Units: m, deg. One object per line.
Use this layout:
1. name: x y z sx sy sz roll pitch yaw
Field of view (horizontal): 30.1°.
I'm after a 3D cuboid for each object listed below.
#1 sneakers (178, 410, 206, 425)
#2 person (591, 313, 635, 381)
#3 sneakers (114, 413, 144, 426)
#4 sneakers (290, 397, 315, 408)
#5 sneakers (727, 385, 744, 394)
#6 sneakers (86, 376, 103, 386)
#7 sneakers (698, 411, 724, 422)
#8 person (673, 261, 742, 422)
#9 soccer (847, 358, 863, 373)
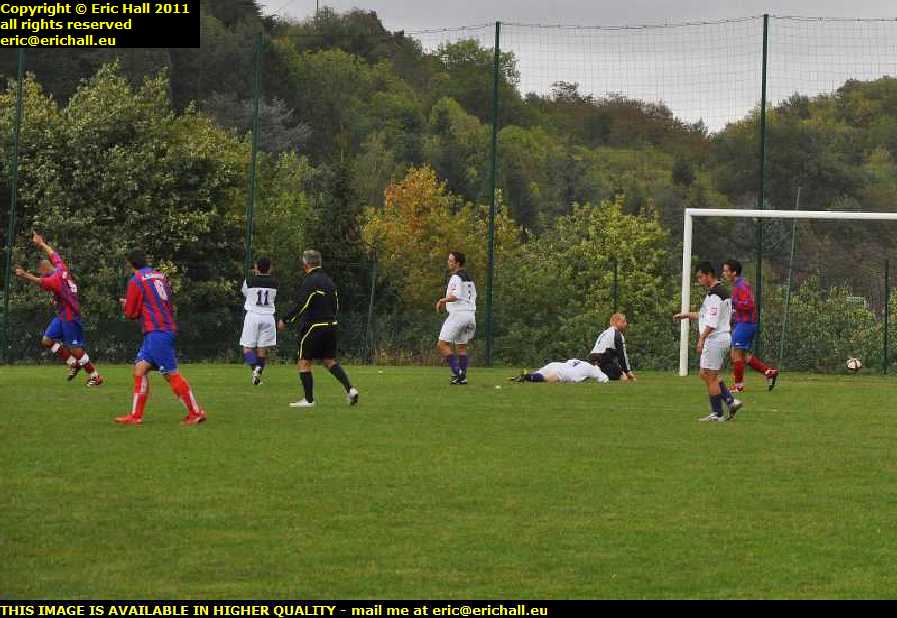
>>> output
1. sneakers: -5.136 2.079 32.920 0.499 0.213 0.195 -12 6 7
2. person: 3.950 0.834 39.735 1.148 1.474 0.986 -3 10 -39
3. sneakers: -6.367 2.125 32.879 0.587 0.235 0.210 6 5 6
4. sneakers: -3.129 1.875 34.699 0.564 0.225 0.204 1 -6 11
5. sneakers: 6.394 1.701 36.793 0.414 0.175 0.145 3 4 14
6. sneakers: -8.069 1.575 37.581 0.176 0.209 0.477 -2 -11 9
7. sneakers: 5.339 2.125 33.846 0.534 0.212 0.189 3 -2 7
8. person: 5.493 0.688 33.880 0.858 3.173 1.109 1 15 7
9. soccer: 10.281 1.328 42.181 0.437 0.390 0.435 0 -5 22
